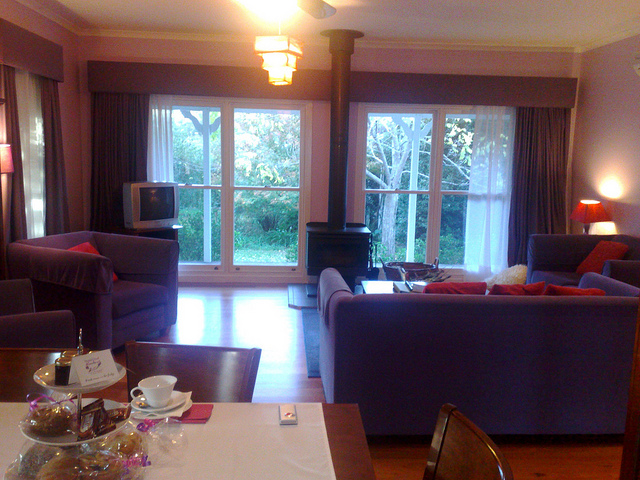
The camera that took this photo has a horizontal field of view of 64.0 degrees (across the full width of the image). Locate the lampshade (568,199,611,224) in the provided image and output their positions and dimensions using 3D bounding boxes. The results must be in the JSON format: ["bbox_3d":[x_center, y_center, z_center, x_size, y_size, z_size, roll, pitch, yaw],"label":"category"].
[{"bbox_3d":[3.066,-0.334,5.811,0.297,0.201,0.299,3,15,22],"label":"lampshade"}]

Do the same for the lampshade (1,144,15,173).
[{"bbox_3d":[-2.794,-0.723,4.548,0.081,0.238,0.303,-4,14,-28],"label":"lampshade"}]

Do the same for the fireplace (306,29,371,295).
[{"bbox_3d":[0.253,-0.897,5.924,0.762,2.884,0.800,3,12,4],"label":"fireplace"}]

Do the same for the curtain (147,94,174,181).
[{"bbox_3d":[-1.938,-1.224,6.156,0.300,1.017,0.131,-2,13,-19],"label":"curtain"}]

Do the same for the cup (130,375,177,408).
[{"bbox_3d":[-0.625,0.589,1.949,0.156,0.088,0.135,-7,-3,24],"label":"cup"}]

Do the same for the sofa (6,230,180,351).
[{"bbox_3d":[-2.020,0.312,4.545,1.205,1.071,1.261,3,6,24],"label":"sofa"}]

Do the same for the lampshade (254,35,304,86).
[{"bbox_3d":[-0.342,-1.450,4.196,0.390,0.389,0.387,-1,11,-6],"label":"lampshade"}]

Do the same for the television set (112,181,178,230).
[{"bbox_3d":[-2.020,-0.394,5.824,0.655,0.535,0.683,3,9,8],"label":"television set"}]

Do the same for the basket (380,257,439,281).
[{"bbox_3d":[0.803,0.287,4.831,0.375,0.215,0.374,0,1,-42],"label":"basket"}]
